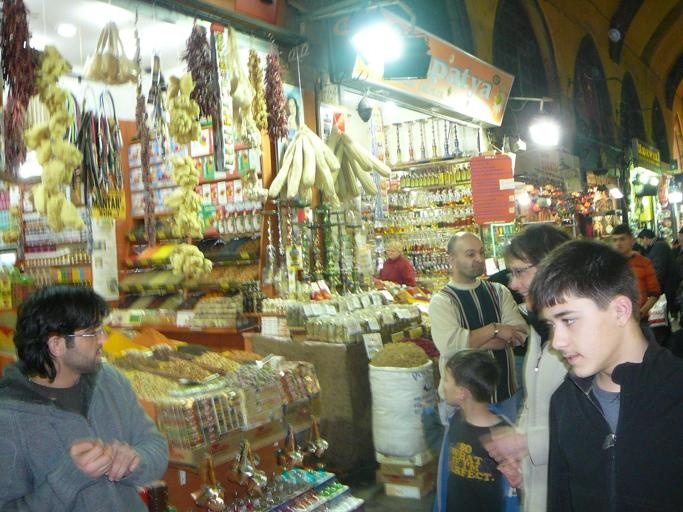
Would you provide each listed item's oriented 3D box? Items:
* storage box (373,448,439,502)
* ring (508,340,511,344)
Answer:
[{"bbox_3d":[0.520,1.678,4.050,0.341,0.384,0.388,-9,-19,28],"label":"storage box"},{"bbox_3d":[1.088,0.554,3.308,0.017,0.018,0.005,10,0,-7],"label":"ring"}]
